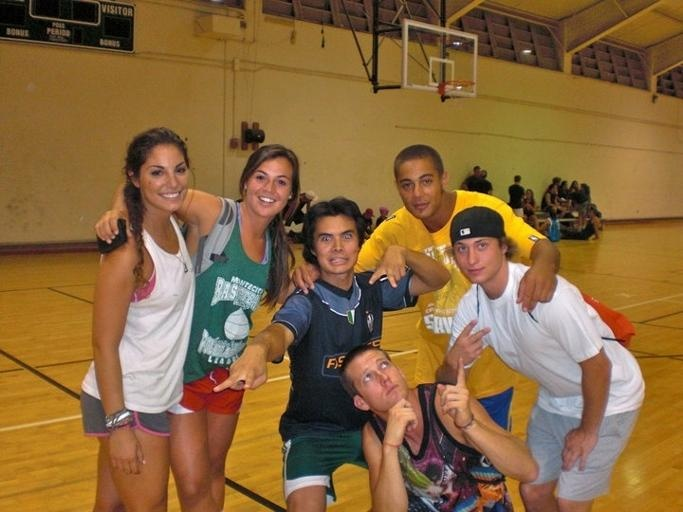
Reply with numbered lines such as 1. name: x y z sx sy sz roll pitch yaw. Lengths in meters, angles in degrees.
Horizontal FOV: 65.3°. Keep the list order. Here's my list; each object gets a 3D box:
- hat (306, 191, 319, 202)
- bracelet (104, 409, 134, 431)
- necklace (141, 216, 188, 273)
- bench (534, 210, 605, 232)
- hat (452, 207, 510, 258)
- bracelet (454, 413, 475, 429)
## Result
1. hat: -0.722 -1.573 13.171 0.291 0.339 0.299 -1 -8 5
2. bracelet: -0.930 0.684 2.232 0.092 0.055 0.087 -18 6 11
3. necklace: -0.797 -0.070 2.452 0.156 0.333 0.232 3 10 32
4. bench: 7.528 -1.207 17.260 2.446 0.846 0.931 0 -2 -1
5. hat: 0.692 -0.123 2.658 0.225 0.202 0.174 4 -9 -19
6. bracelet: 0.528 0.702 2.279 0.057 0.038 0.082 -11 0 7
